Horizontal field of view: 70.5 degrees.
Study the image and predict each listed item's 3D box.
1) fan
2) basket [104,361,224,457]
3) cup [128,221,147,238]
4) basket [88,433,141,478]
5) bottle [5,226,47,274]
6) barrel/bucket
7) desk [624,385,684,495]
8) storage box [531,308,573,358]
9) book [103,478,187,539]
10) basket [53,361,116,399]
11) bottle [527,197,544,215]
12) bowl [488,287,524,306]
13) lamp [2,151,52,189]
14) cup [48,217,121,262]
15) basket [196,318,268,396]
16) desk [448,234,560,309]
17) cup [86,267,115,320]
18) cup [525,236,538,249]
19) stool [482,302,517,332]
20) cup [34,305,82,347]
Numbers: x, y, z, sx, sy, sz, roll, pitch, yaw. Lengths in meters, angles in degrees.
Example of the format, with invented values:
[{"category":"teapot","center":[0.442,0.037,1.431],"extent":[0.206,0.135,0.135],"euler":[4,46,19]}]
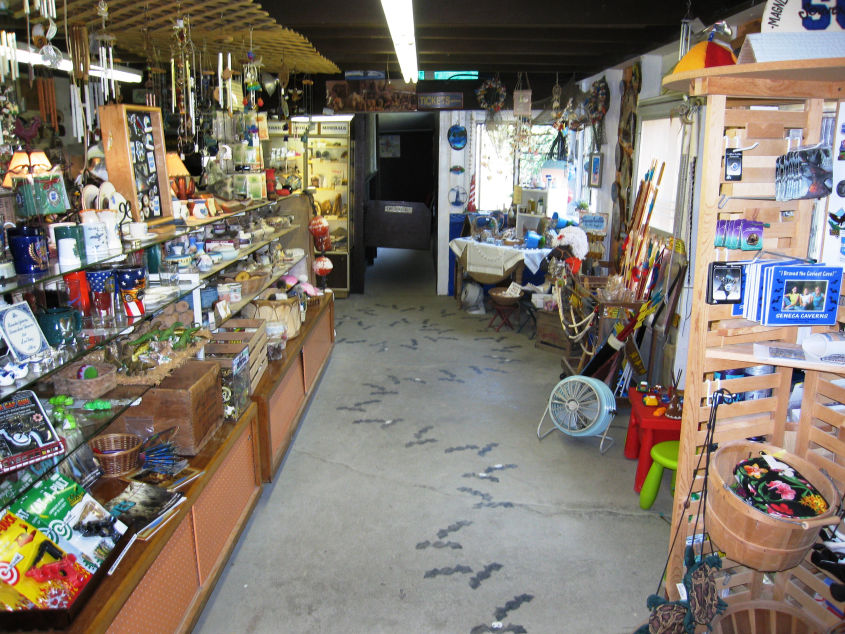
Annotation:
[{"category":"fan","center":[1.450,0.839,5.563],"extent":[0.664,0.624,0.425],"euler":[4,5,41]},{"category":"basket","center":[-1.622,0.574,3.913],"extent":[0.488,0.391,0.522],"euler":[1,7,5]},{"category":"cup","center":[-1.670,-0.513,3.505],"extent":[0.092,0.086,0.116],"euler":[-10,20,-30]},{"category":"basket","center":[-1.803,0.797,3.514],"extent":[0.221,0.144,0.232],"euler":[2,10,-16]},{"category":"bottle","center":[-1.763,-0.300,2.673],"extent":[0.124,0.215,0.235],"euler":[-1,10,-1]},{"category":"barrel/bucket","center":[1.527,0.836,2.685],"extent":[0.548,0.377,0.542],"euler":[-3,35,2]},{"category":"desk","center":[2.018,1.146,5.045],"extent":[0.418,0.422,0.437],"euler":[14,-7,30]},{"category":"storage box","center":[1.733,0.241,8.236],"extent":[0.617,0.513,0.624],"euler":[11,-20,9]},{"category":"book","center":[-1.542,1.036,3.243],"extent":[0.339,0.069,0.390],"euler":[3,18,10]},{"category":"basket","center":[-1.728,0.320,3.094],"extent":[0.152,0.079,0.218],"euler":[0,12,-2]},{"category":"bottle","center":[1.820,-1.784,9.556],"extent":[0.102,0.259,0.312],"euler":[-14,22,-38]},{"category":"bowl","center":[1.220,-0.291,8.961],"extent":[0.291,0.120,0.312],"euler":[0,20,0]},{"category":"lamp","center":[-1.871,-0.708,2.875],"extent":[0.176,0.177,0.186],"euler":[6,12,27]},{"category":"cup","center":[-1.673,-0.398,3.021],"extent":[0.306,0.222,0.185],"euler":[-4,13,-19]},{"category":"basket","center":[-1.551,0.210,4.925],"extent":[0.413,0.395,0.828],"euler":[3,18,2]},{"category":"desk","center":[1.161,-0.941,9.487],"extent":[1.039,0.923,1.511],"euler":[5,26,0]},{"category":"cup","center":[-1.707,-0.134,3.187],"extent":[0.132,0.234,0.162],"euler":[-10,19,-29]},{"category":"cup","center":[1.677,-1.198,9.353],"extent":[0.124,0.195,0.277],"euler":[-11,20,-32]},{"category":"stool","center":[1.213,-0.043,9.217],"extent":[0.406,0.481,0.398],"euler":[1,9,1]},{"category":"cup","center":[-1.733,0.044,2.849],"extent":[0.160,0.160,0.115],"euler":[-13,21,-36]}]
